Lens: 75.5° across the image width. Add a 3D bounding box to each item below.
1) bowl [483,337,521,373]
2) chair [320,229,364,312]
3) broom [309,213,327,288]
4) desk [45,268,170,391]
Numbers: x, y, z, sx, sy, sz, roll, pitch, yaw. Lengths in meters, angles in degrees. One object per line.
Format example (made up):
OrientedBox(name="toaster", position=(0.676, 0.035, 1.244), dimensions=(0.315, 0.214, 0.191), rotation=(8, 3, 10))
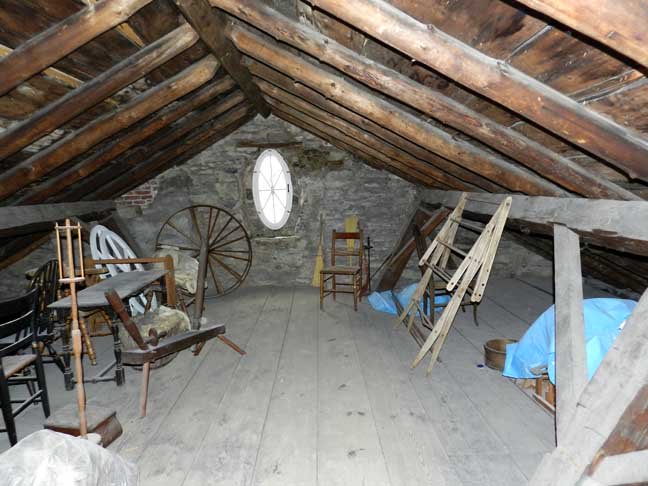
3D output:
OrientedBox(name="bowl", position=(1.515, 0.962, 3.631), dimensions=(0.256, 0.172, 0.254), rotation=(-1, 12, 0))
OrientedBox(name="chair", position=(0.252, 0.297, 5.820), dimensions=(0.644, 0.947, 1.197), rotation=(0, 13, 5))
OrientedBox(name="broom", position=(-0.094, 0.118, 6.362), dimensions=(0.249, 1.273, 0.212), rotation=(8, 34, 5))
OrientedBox(name="desk", position=(-1.948, 0.867, 3.968), dimensions=(0.599, 0.699, 1.516), rotation=(-5, -3, -9))
